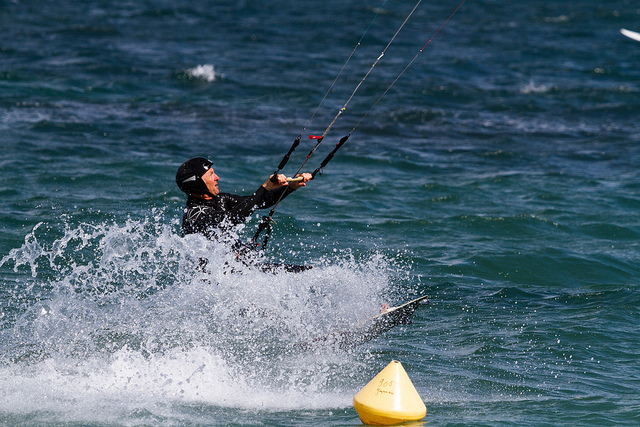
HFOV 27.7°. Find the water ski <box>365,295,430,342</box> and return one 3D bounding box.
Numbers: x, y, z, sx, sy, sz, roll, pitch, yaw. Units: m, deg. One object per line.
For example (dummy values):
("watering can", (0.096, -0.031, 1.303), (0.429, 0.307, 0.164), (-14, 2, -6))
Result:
("water ski", (1.985, 2.786, 34.569), (2.499, 0.425, 0.314), (-22, 27, 1))
